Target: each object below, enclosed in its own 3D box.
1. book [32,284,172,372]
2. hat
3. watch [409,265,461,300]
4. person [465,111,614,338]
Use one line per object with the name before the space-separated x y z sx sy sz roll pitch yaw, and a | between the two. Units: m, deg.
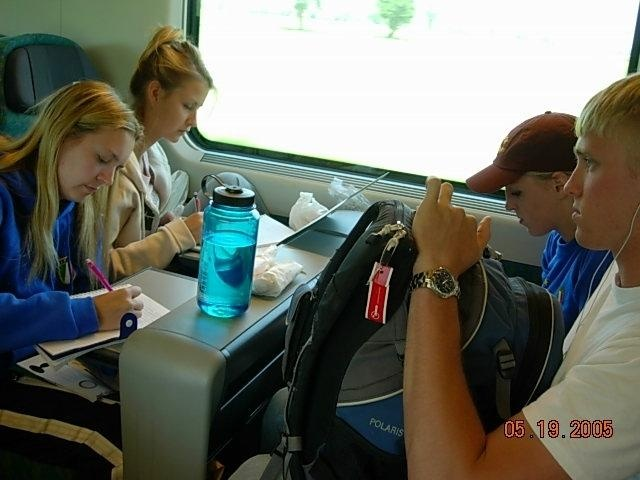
book | -0.562 0.195 1.340 0.295 0.118 0.339 4 18 -6
hat | 0.657 -0.259 1.682 0.326 0.205 0.221 -11 17 20
watch | 0.215 0.066 0.946 0.074 0.054 0.080 -4 5 34
person | 0.673 -0.145 1.889 0.570 0.873 0.544 2 17 20
